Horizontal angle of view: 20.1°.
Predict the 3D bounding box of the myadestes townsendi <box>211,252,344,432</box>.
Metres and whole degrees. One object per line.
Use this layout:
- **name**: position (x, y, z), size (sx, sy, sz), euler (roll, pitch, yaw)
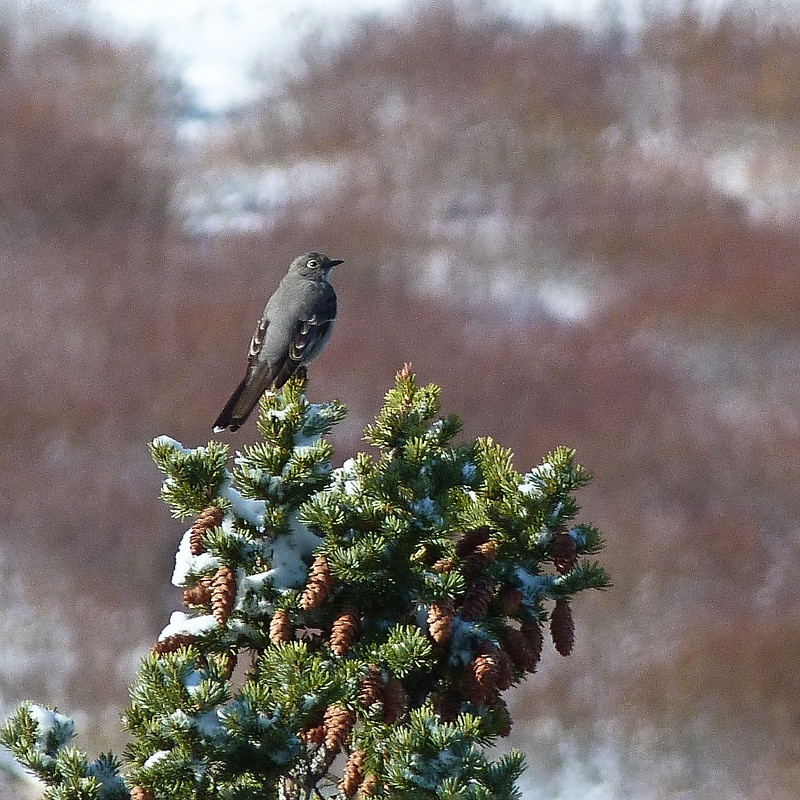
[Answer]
- **myadestes townsendi**: position (-0.573, -0.292, 10.803), size (0.333, 1.027, 0.663), euler (1, -72, 30)
